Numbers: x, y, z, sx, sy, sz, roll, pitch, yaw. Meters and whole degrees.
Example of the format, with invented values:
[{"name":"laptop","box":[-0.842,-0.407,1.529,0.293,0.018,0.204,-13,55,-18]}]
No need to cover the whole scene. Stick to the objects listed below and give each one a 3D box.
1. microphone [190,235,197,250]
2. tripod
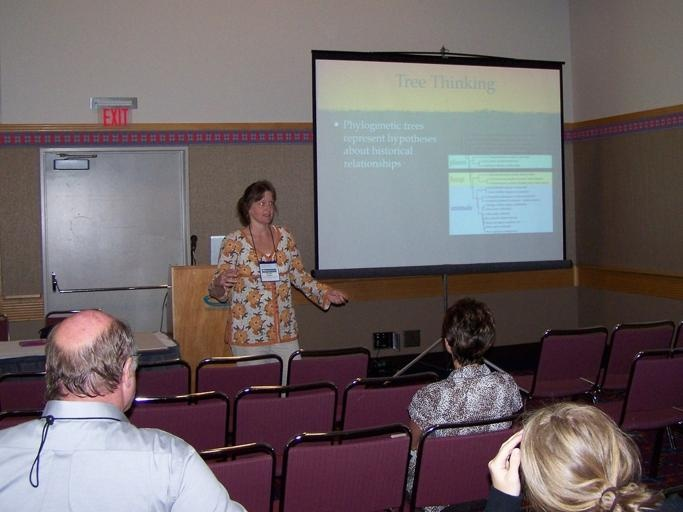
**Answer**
[{"name":"microphone","box":[-1.470,-0.138,5.448,0.105,0.114,0.175,-6,12,-14]},{"name":"tripod","box":[1.199,0.604,6.116,0.971,1.308,0.906,-3,-28,20]}]
